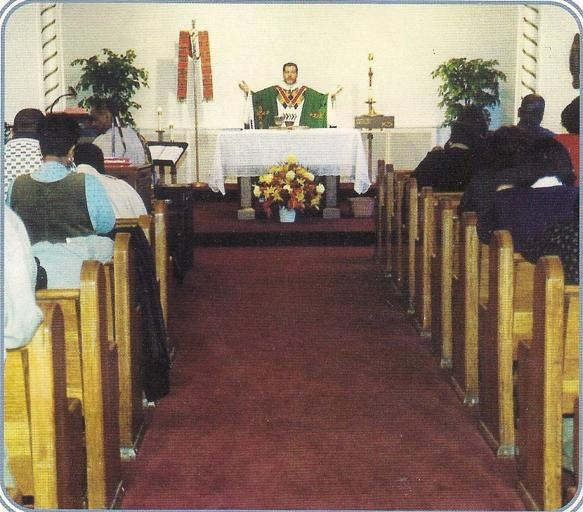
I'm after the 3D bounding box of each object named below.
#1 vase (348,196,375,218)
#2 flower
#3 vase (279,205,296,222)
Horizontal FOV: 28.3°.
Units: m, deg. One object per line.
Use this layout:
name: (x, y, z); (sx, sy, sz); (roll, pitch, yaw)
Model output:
vase: (0.594, -0.420, 9.770); (0.200, 0.157, 0.293); (-1, 14, -1)
flower: (-0.025, -0.584, 9.459); (0.465, 0.447, 0.492); (-1, 4, 2)
vase: (-0.032, -0.347, 9.496); (0.115, 0.125, 0.123); (0, -2, -4)
